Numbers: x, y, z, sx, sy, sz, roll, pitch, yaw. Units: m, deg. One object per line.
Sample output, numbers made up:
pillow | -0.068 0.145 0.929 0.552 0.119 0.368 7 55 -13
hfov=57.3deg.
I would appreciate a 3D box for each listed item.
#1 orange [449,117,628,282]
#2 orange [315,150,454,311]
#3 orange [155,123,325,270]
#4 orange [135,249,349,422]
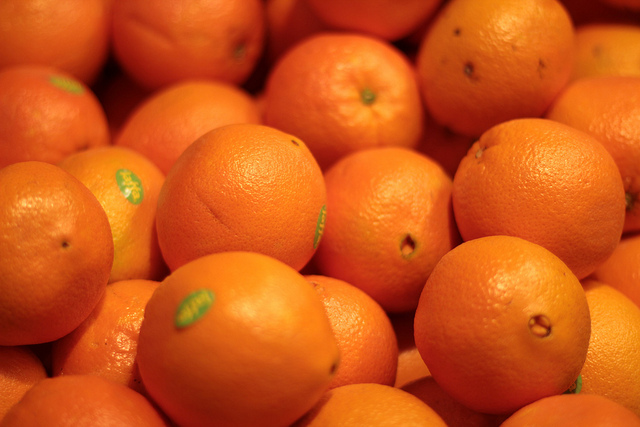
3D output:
orange | 0.408 -0.011 1.125 0.289 0.297 0.266 -33 34 -18
orange | 0.119 0.027 1.184 0.234 0.260 0.326 1 91 10
orange | -0.136 -0.024 1.029 0.289 0.149 0.255 14 56 5
orange | -0.114 0.186 0.966 0.264 0.218 0.245 5 84 9
